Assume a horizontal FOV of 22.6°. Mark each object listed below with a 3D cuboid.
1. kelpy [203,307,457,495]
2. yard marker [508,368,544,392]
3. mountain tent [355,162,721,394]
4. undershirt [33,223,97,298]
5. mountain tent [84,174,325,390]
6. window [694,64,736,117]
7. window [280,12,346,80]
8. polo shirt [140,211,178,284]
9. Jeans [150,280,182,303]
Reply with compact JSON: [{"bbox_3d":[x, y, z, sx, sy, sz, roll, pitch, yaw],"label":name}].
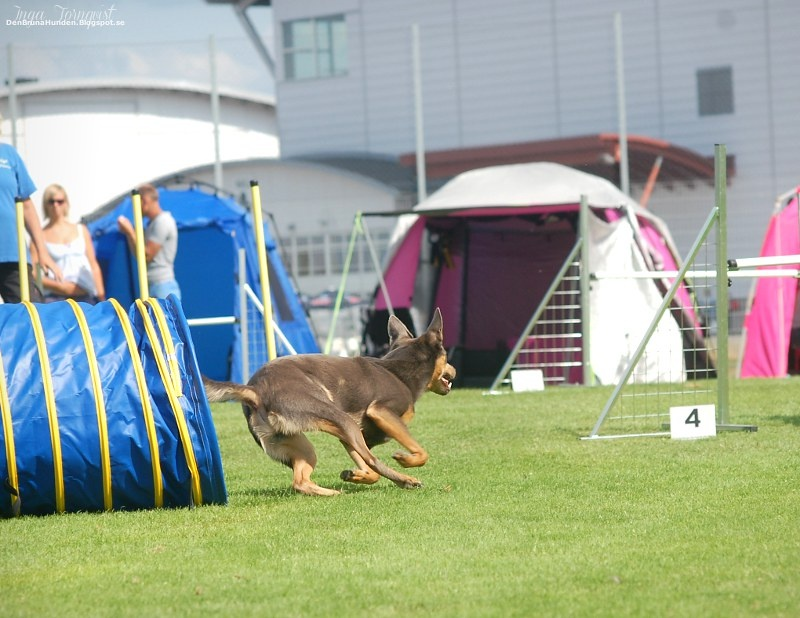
[{"bbox_3d":[-0.623,0.929,19.057,2.261,1.643,0.722,-2,4,-13],"label":"kelpy"},{"bbox_3d":[1.518,0.870,23.794,0.277,0.291,0.065,1,-15,-28],"label":"yard marker"},{"bbox_3d":[1.894,-0.035,24.797,3.116,2.061,3.207,0,5,10],"label":"mountain tent"},{"bbox_3d":[-3.819,-0.537,22.485,0.535,0.869,0.463,-23,11,-16],"label":"undershirt"},{"bbox_3d":[-2.454,-0.317,25.326,2.473,2.399,2.559,0,0,6],"label":"mountain tent"},{"bbox_3d":[4.565,-3.131,28.601,0.649,0.692,0.636,-2,5,-4],"label":"window"},{"bbox_3d":[-1.386,-3.981,30.096,0.918,0.846,0.108,-4,6,-14],"label":"window"},{"bbox_3d":[-2.820,-0.704,23.290,0.361,0.833,0.300,-2,4,-9],"label":"polo shirt"},{"bbox_3d":[-2.617,-0.180,21.872,0.254,0.383,0.215,-1,0,11],"label":"Jeans"}]
